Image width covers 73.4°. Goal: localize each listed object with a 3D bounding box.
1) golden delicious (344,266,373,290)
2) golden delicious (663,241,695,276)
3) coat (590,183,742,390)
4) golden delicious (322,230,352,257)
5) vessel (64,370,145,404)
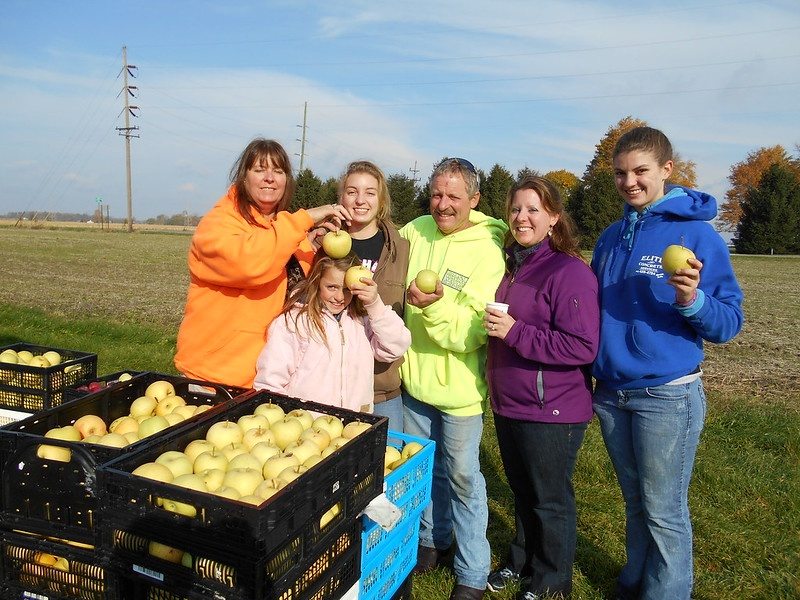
[{"bbox_3d":[-0.319,-0.191,4.068,0.162,0.227,0.174,7,8,-15],"label":"golden delicious"},{"bbox_3d":[1.915,-0.270,3.690,0.173,0.214,0.198,2,6,-13],"label":"golden delicious"},{"bbox_3d":[1.941,-0.076,4.044,1.084,1.601,0.542,8,7,36],"label":"coat"},{"bbox_3d":[-0.501,-0.476,4.347,0.188,0.217,0.202,9,17,24],"label":"golden delicious"},{"bbox_3d":[-2.383,0.679,4.380,0.345,0.200,0.544,11,22,35],"label":"vessel"}]
